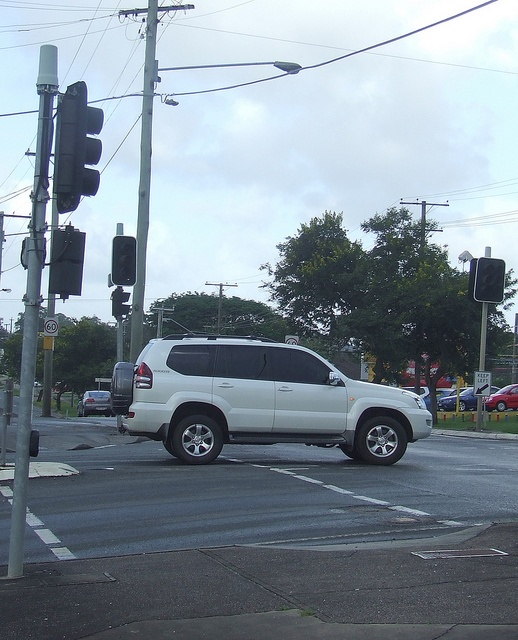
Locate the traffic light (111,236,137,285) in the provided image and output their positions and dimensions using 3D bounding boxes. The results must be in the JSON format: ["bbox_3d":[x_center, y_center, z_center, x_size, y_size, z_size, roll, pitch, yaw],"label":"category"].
[{"bbox_3d":[-3.001,-1.264,15.440,0.516,1.083,0.477,0,0,-15],"label":"traffic light"}]

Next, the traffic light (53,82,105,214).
[{"bbox_3d":[-1.174,-1.099,4.534,0.322,0.860,0.540,0,0,-16],"label":"traffic light"}]

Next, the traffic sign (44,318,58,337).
[{"bbox_3d":[-8.012,0.340,26.748,0.628,0.860,0.097,12,-25,-26],"label":"traffic sign"}]

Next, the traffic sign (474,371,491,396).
[{"bbox_3d":[7.909,2.307,24.688,0.543,0.677,0.946,0,-1,16],"label":"traffic sign"}]

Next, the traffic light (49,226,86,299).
[{"bbox_3d":[-1.306,-0.379,4.727,0.224,0.480,0.271,0,0,-17],"label":"traffic light"}]

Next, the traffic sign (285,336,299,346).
[{"bbox_3d":[1.207,0.810,25.933,0.448,0.481,0.434,2,2,16],"label":"traffic sign"}]

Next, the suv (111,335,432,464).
[{"bbox_3d":[0.252,1.487,12.239,5.457,2.151,2.159,2,-8,-11],"label":"suv"}]

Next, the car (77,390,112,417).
[{"bbox_3d":[-8.744,4.654,37.496,1.865,1.307,1.356,-1,-1,42],"label":"car"}]
